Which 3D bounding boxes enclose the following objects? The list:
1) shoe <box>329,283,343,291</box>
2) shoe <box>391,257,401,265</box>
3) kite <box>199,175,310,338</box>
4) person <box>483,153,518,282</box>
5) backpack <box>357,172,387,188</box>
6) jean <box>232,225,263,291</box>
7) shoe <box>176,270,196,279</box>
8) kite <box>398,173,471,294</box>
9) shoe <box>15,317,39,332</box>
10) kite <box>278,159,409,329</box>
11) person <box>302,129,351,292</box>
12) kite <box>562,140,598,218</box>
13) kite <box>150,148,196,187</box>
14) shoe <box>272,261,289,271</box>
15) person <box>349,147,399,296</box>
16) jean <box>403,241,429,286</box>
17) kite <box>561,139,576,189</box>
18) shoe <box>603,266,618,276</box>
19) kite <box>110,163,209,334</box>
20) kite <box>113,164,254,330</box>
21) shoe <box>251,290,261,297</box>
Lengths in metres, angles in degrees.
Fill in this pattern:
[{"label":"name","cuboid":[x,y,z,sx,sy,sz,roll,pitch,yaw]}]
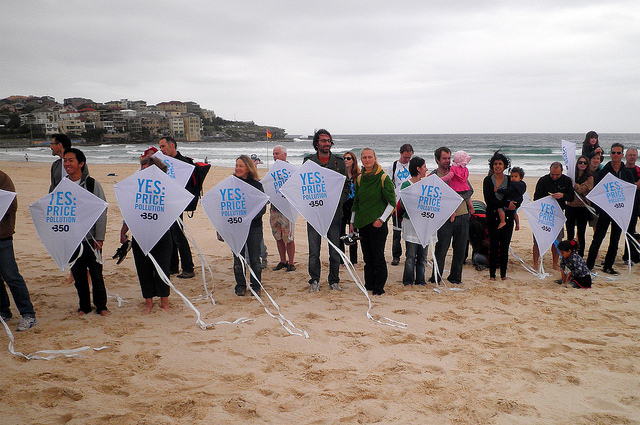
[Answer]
[{"label":"shoe","cuboid":[0.290,1.376,11.032,0.084,0.109,0.231,-1,-1,-36]},{"label":"shoe","cuboid":[1.595,1.019,12.609,0.136,0.147,0.338,-1,-3,16]},{"label":"kite","cuboid":[-1.180,0.904,10.169,1.429,3.255,0.546,2,-32,-44]},{"label":"person","cuboid":[3.408,0.092,11.436,0.578,2.451,0.621,0,10,5]},{"label":"backpack","cuboid":[0.906,-0.596,10.719,0.275,0.405,0.359,-2,1,-28]},{"label":"jean","cuboid":[-1.291,0.795,10.859,0.558,1.369,0.390,0,-18,-15]},{"label":"shoe","cuboid":[-2.580,1.196,11.586,0.254,0.106,0.126,3,-3,-24]},{"label":"kite","cuboid":[1.966,0.382,11.034,1.179,2.354,0.377,6,25,14]},{"label":"shoe","cuboid":[-4.707,1.789,9.637,0.359,0.174,0.181,-8,13,-36]},{"label":"kite","cuboid":[0.300,0.409,9.551,1.303,0.606,4.289,-10,34,-13]},{"label":"person","cuboid":[0.110,-0.013,10.901,0.968,3.014,0.907,1,3,3]},{"label":"kite","cuboid":[5.241,-0.622,12.064,0.301,1.614,0.613,-3,-20,-22]},{"label":"kite","cuboid":[-2.801,-0.841,11.357,0.862,0.139,1.139,-5,44,2]},{"label":"shoe","cuboid":[-0.808,1.090,12.156,0.371,0.156,0.125,-4,-2,-20]},{"label":"person","cuboid":[0.948,0.177,10.690,0.776,2.620,0.372,3,11,22]},{"label":"jean","cuboid":[1.876,0.871,11.499,0.414,0.338,1.372,4,41,11]},{"label":"kite","cuboid":[5.105,-1.057,12.309,0.270,0.789,0.428,3,11,22]},{"label":"shoe","cuboid":[5.792,1.161,11.978,0.276,0.114,0.121,11,28,35]},{"label":"kite","cuboid":[-2.486,0.578,9.609,1.340,3.066,0.457,-3,-34,-36]},{"label":"kite","cuboid":[-2.437,0.594,10.687,1.448,3.268,0.516,-30,14,-4]},{"label":"shoe","cuboid":[-1.158,1.453,10.794,0.095,0.063,0.257,6,-24,-33]}]
